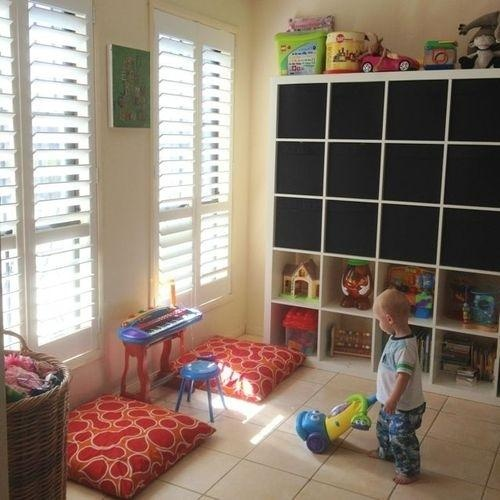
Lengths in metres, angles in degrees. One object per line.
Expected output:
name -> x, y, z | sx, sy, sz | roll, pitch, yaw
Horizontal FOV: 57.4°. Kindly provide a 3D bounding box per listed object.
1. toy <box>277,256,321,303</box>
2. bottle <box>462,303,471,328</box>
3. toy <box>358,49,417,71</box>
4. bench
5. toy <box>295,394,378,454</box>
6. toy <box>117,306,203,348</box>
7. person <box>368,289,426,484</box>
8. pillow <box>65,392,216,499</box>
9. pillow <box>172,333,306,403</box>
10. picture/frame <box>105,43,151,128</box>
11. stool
toy -> 0.375, 0.181, 3.370 | 0.392, 0.363, 0.253 | 3, 5, 26
bottle -> 1.310, 0.391, 2.758 | 0.045, 0.132, 0.128 | 5, 9, 26
toy -> 0.823, -1.099, 2.717 | 0.261, 0.108, 0.153 | 5, 14, 19
bench -> -0.558, 0.688, 2.615 | 0.181, 0.360, 0.433 | 6, 8, 24
toy -> 0.392, 0.811, 2.149 | 0.397, 0.219, 0.235 | -16, 1, 18
toy -> -0.488, 0.416, 2.558 | 0.206, 0.134, 0.539 | 6, 10, 32
person -> 0.653, 0.582, 1.999 | 0.245, 0.806, 0.333 | 3, 8, 15
pillow -> -0.596, 0.888, 2.144 | 0.608, 0.117, 0.563 | 5, 9, 29
pillow -> -0.021, 0.738, 2.962 | 0.415, 0.101, 0.440 | 5, 12, 26
picture/frame -> -0.635, -0.864, 2.434 | 0.054, 0.428, 0.309 | 4, 9, 23
stool -> -0.258, 0.777, 2.560 | 0.279, 0.352, 0.302 | -1, -1, 10
